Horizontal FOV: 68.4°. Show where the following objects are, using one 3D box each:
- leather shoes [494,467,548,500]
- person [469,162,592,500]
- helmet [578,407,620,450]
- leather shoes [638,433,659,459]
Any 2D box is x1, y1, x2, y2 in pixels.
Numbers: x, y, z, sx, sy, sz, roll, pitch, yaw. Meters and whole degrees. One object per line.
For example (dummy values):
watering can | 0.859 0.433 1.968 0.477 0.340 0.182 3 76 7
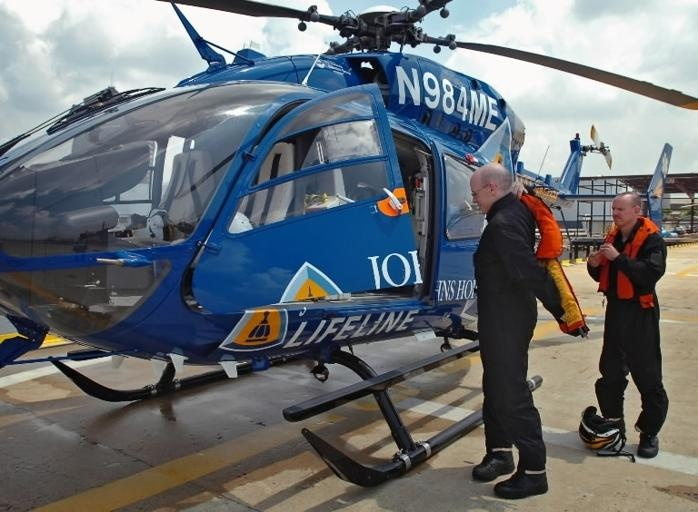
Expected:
leather shoes | 1.090 1.483 3.362 0.478 0.197 0.131 3 -10 2
person | 1.183 0.460 3.399 0.676 2.139 0.670 -1 11 -1
helmet | 1.862 1.293 3.851 0.331 0.206 0.360 9 -12 -31
leather shoes | 2.185 1.388 3.763 0.107 0.138 0.293 -3 -1 45
